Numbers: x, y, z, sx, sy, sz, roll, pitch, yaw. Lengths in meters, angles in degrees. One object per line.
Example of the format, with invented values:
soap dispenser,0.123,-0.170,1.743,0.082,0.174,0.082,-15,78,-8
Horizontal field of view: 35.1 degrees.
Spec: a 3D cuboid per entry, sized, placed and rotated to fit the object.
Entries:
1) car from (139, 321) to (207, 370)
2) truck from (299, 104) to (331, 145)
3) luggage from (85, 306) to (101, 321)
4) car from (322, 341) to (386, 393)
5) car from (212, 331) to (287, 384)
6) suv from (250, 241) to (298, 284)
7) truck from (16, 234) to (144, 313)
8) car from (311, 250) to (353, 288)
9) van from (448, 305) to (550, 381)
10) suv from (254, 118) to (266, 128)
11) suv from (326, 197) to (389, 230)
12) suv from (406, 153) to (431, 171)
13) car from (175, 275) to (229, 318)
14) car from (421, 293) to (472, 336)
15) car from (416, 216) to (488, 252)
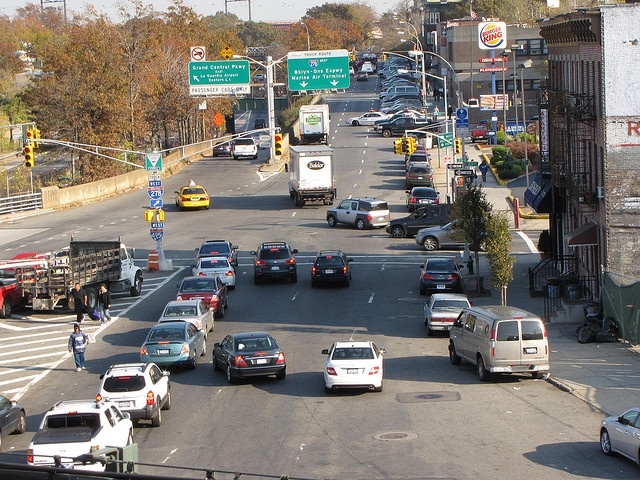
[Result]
car,-5.655,3.935,39.031,1.988,1.600,4.813,-2,4,0
truck,-0.241,-10.789,95.352,2.872,3.374,5.815,0,9,12
luggage,-9.932,3.236,44.287,0.507,0.782,0.218,1,-2,1
car,1.226,4.464,36.687,2.187,1.637,4.971,-2,3,6
car,-2.584,4.158,36.713,2.072,1.891,1.959,-3,3,-11
suv,-2.439,1.228,51.709,2.051,2.102,1.841,-2,5,-7
truck,-11.153,1.614,47.815,2.303,2.240,5.616,4,11,24
car,0.563,1.396,51.377,1.834,1.841,3.722,-1,7,5
van,6.563,3.693,37.261,2.546,2.196,4.558,0,3,-14
suv,-7.640,-14.591,127.017,1.423,1.422,2.654,1,14,1
suv,2.387,-1.611,65.294,3.350,2.032,3.695,-12,14,-40
suv,7.683,-6.187,80.282,1.111,1.124,2.424,1,12,5
car,-5.376,2.398,45.790,1.992,1.698,4.815,1,6,0
car,5.020,3.011,41.829,1.055,0.848,2.305,-2,10,-1
car,7.549,-0.260,58.822,3.788,1.521,1.680,2,4,-1
